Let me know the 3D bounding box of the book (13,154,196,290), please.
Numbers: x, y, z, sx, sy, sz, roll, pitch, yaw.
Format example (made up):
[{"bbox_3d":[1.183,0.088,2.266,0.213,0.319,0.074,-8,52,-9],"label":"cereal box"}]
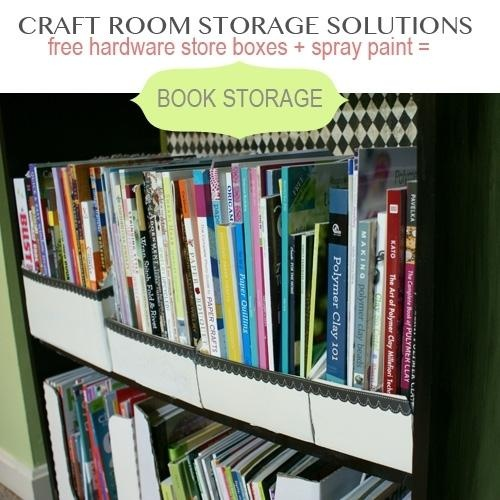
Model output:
[{"bbox_3d":[-0.331,-0.116,1.480,0.289,0.451,0.411,12,19,37],"label":"book"}]
